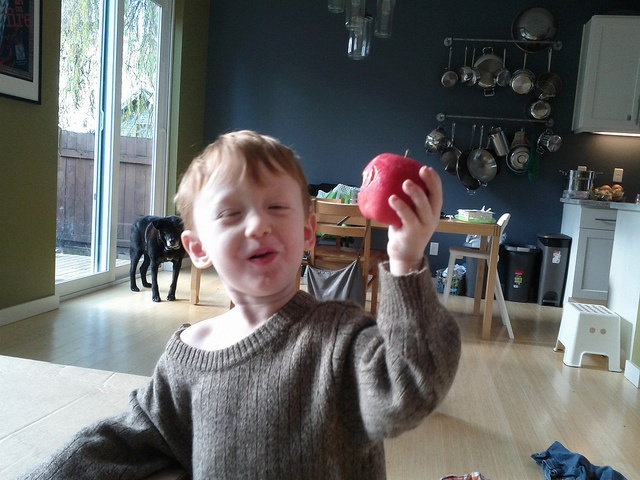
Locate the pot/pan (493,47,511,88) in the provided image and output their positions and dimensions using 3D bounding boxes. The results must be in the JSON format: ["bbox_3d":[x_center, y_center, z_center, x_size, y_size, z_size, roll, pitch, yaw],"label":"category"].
[{"bbox_3d":[1.821,-1.723,4.566,0.150,0.370,0.110,-3,10,-34],"label":"pot/pan"}]

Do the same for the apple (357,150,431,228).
[{"bbox_3d":[0.128,-0.092,0.820,0.098,0.128,0.165,1,9,-10],"label":"apple"}]

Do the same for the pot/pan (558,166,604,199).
[{"bbox_3d":[2.566,-0.569,4.512,0.384,0.316,0.263,6,9,16],"label":"pot/pan"}]

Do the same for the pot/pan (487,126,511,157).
[{"bbox_3d":[1.795,-0.970,4.582,0.154,0.288,0.271,-26,-1,19],"label":"pot/pan"}]

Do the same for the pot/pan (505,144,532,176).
[{"bbox_3d":[1.968,-0.809,4.603,0.213,0.287,0.090,5,8,12],"label":"pot/pan"}]

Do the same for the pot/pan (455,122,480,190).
[{"bbox_3d":[1.513,-0.847,4.715,0.070,0.598,0.312,6,-5,-32],"label":"pot/pan"}]

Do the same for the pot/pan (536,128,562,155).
[{"bbox_3d":[2.275,-0.983,4.567,0.254,0.262,0.130,6,9,17],"label":"pot/pan"}]

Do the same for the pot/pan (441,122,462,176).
[{"bbox_3d":[1.357,-0.858,4.762,0.184,0.524,0.479,3,6,6],"label":"pot/pan"}]

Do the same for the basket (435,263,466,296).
[{"bbox_3d":[1.285,0.406,4.552,0.287,0.333,0.314,0,-4,14],"label":"basket"}]

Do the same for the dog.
[{"bbox_3d":[-1.390,0.105,3.870,0.303,0.709,0.970,-3,11,-41],"label":"dog"}]

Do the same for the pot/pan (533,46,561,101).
[{"bbox_3d":[2.248,-1.615,4.550,0.185,0.533,0.148,5,4,12],"label":"pot/pan"}]

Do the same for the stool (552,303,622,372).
[{"bbox_3d":[1.736,0.617,2.965,0.360,0.345,0.377,6,9,21],"label":"stool"}]

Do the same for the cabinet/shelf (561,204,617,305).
[{"bbox_3d":[2.381,0.119,4.246,0.269,0.969,0.516,-1,9,-24],"label":"cabinet/shelf"}]

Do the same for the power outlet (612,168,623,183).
[{"bbox_3d":[2.938,-0.636,4.540,0.101,0.146,0.021,2,8,-3],"label":"power outlet"}]
